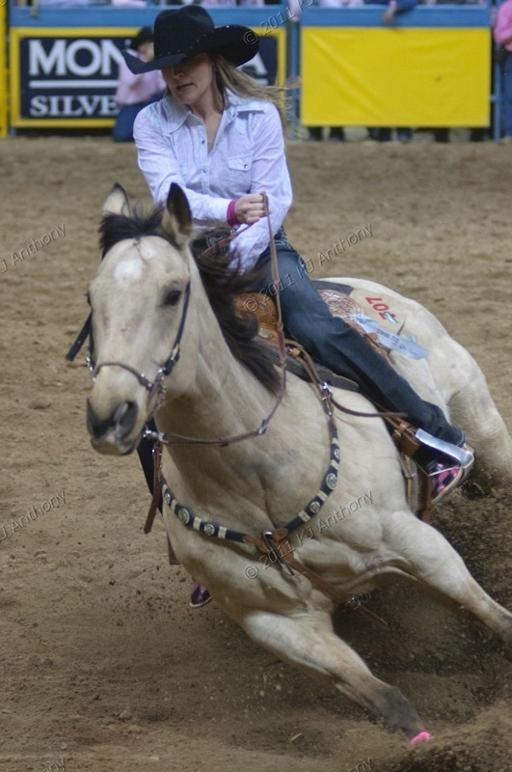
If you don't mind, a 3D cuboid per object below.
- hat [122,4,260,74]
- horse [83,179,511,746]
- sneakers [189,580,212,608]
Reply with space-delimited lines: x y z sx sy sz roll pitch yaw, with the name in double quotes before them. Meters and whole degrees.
"hat" -0.202 -1.350 3.876 0.506 0.273 0.312 -4 11 -25
"horse" 0.090 0.277 3.357 1.515 1.844 0.924 -3 12 -22
"sneakers" -0.274 1.044 4.992 0.119 0.117 0.325 0 -6 4
